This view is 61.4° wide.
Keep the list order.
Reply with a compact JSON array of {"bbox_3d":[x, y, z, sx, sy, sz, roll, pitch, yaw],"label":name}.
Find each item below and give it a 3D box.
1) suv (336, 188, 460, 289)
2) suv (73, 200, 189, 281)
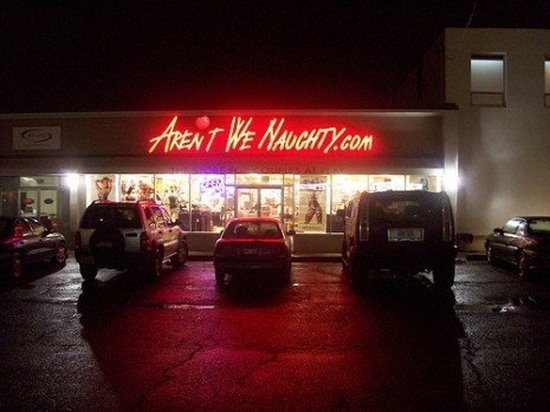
[{"bbox_3d":[3.144,0.745,11.958,1.827,1.572,3.111,0,1,3],"label":"suv"},{"bbox_3d":[-3.905,0.813,13.015,1.591,1.426,3.034,-1,4,7],"label":"suv"}]
